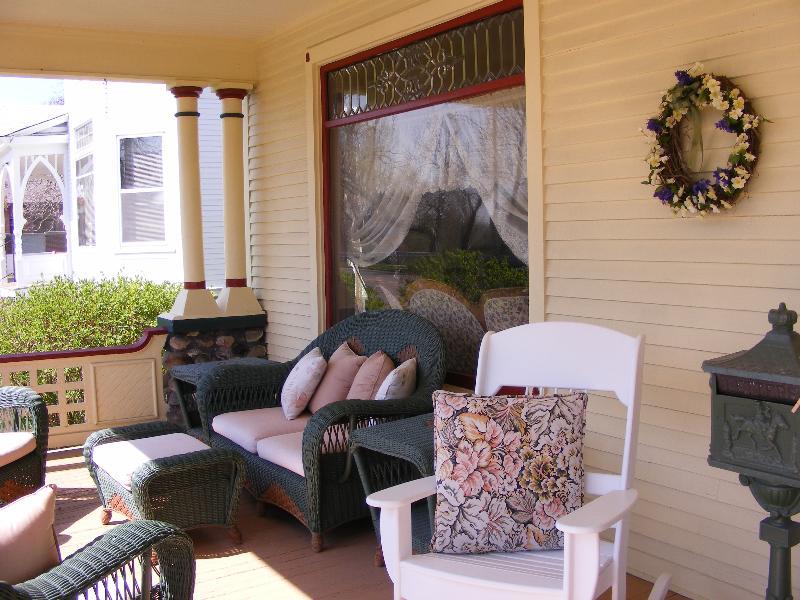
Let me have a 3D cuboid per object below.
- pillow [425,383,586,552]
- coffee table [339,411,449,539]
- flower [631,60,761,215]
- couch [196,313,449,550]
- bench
[{"bbox_3d":[0.423,0.673,2.409,0.724,0.751,0.272,0,-6,5],"label":"pillow"},{"bbox_3d":[0.063,0.926,3.246,0.758,0.531,0.580,-8,-8,20],"label":"coffee table"},{"bbox_3d":[1.371,-0.707,2.790,0.216,0.613,0.559,-4,22,-39],"label":"flower"},{"bbox_3d":[-0.469,0.741,4.293,1.394,1.271,1.701,-1,4,-43],"label":"couch"},{"bbox_3d":[-1.481,1.157,3.813,1.015,0.615,0.653,2,4,45],"label":"bench"}]
